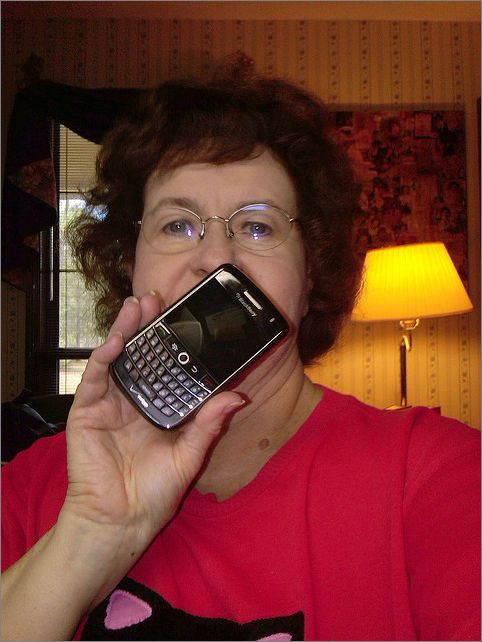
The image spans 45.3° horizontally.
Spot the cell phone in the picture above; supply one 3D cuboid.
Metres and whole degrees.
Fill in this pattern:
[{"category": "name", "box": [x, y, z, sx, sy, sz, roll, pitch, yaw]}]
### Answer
[{"category": "cell phone", "box": [-0.048, 0.037, 0.731, 0.153, 0.152, 0.092, -40, 84, -12]}]
